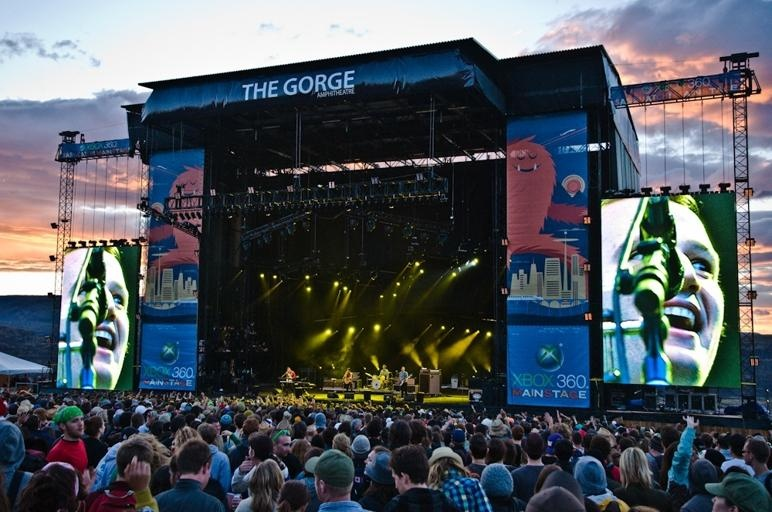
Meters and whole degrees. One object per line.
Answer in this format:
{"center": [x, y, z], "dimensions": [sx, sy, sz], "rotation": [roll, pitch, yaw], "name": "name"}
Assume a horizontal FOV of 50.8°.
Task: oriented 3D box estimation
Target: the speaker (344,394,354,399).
{"center": [-2.114, 8.058, 46.317], "dimensions": [0.423, 0.290, 0.226], "rotation": [1, -1, 16], "name": "speaker"}

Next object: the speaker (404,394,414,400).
{"center": [1.289, 7.635, 43.792], "dimensions": [0.469, 0.310, 0.250], "rotation": [1, -3, 1], "name": "speaker"}
